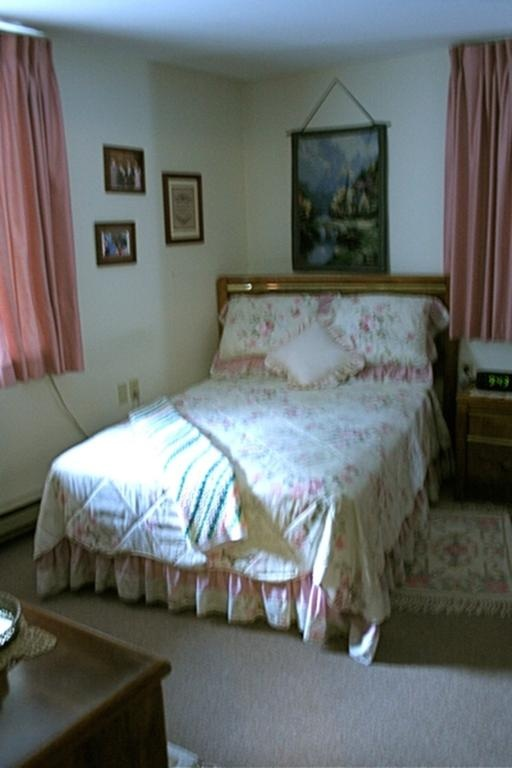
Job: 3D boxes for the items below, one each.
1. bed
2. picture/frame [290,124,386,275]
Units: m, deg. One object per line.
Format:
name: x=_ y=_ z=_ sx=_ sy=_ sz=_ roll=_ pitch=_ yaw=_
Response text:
bed: x=0.210 y=0.235 z=2.688 sx=1.188 sy=1.194 sz=1.847 roll=4 pitch=15 yaw=24
picture/frame: x=0.500 y=-1.153 z=3.497 sx=0.634 sy=1.110 sz=0.038 roll=0 pitch=-19 yaw=9
